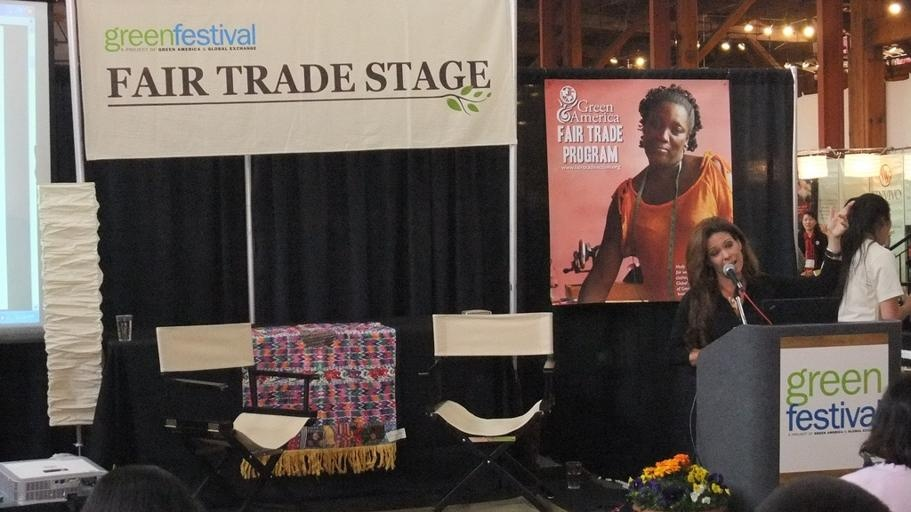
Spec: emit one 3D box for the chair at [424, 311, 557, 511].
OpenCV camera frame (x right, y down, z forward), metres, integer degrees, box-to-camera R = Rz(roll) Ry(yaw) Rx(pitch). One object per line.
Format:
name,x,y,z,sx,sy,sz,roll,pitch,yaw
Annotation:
chair,0.355,1.304,9.243,1.551,2.131,1.416,-1,-5,4

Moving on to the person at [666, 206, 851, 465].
person,2.459,0.666,8.435,1.177,1.877,1.086,-9,11,-7

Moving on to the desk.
desk,-1.085,1.170,8.960,1.217,1.041,0.655,-1,-5,-2

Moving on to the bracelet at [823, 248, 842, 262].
bracelet,3.098,-0.010,8.773,0.093,0.061,0.118,5,-5,-7

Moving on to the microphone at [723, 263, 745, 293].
microphone,2.128,0.170,8.173,0.069,0.233,0.078,-42,-4,25
